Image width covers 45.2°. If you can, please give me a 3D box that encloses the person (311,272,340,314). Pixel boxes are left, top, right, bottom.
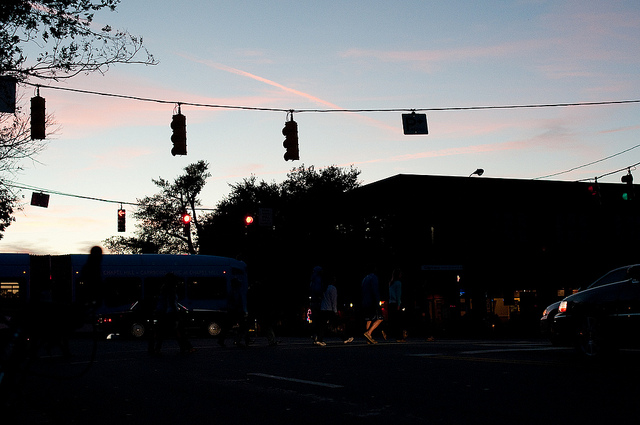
[{"bbox_3d":[0.206,2.490,23.182,0.626,1.066,1.144,-2,-7,19],"label":"person"}]

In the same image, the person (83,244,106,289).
[{"bbox_3d":[-4.799,1.152,16.246,0.392,0.852,1.669,3,-7,-18],"label":"person"}]

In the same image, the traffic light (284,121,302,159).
[{"bbox_3d":[-0.912,-2.275,24.555,0.454,1.288,0.625,1,-7,-5],"label":"traffic light"}]

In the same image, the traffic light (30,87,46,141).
[{"bbox_3d":[-8.138,-2.793,22.115,0.376,1.554,0.583,4,-7,-24],"label":"traffic light"}]

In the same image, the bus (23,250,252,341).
[{"bbox_3d":[-6.986,3.556,35.266,11.819,4.142,4.079,-2,5,25],"label":"bus"}]

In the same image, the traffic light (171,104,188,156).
[{"bbox_3d":[-4.411,-2.570,23.740,0.552,1.636,0.385,-4,31,-14],"label":"traffic light"}]

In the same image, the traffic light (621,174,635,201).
[{"bbox_3d":[12.750,-1.000,31.615,0.432,0.982,3.260,-2,-8,22],"label":"traffic light"}]
